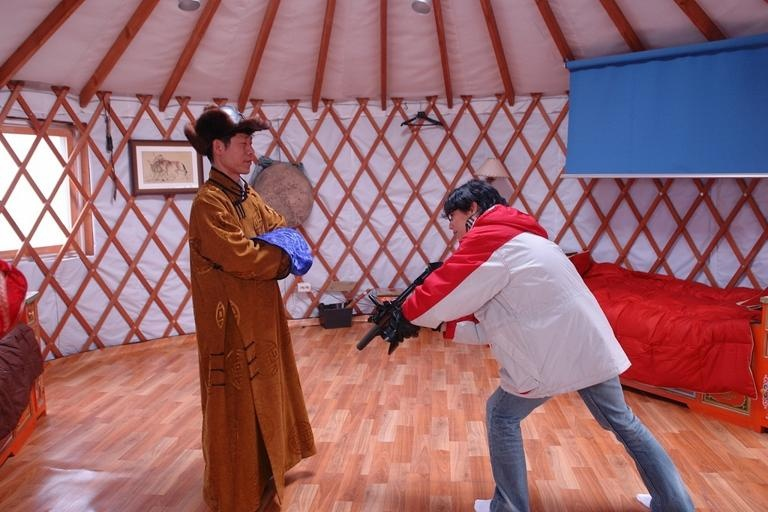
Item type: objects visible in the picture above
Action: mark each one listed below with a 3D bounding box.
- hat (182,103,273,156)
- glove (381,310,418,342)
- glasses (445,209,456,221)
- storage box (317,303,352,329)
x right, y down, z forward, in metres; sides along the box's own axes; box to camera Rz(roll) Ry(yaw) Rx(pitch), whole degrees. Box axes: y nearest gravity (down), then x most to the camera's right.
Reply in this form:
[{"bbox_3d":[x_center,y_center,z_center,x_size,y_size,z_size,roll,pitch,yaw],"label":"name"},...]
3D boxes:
[{"bbox_3d":[-0.760,-0.600,2.575,0.267,0.123,0.258,-24,3,-1],"label":"hat"},{"bbox_3d":[0.064,0.311,2.423,0.143,0.145,0.068,-38,6,14],"label":"glove"},{"bbox_3d":[0.309,-0.185,2.486,0.034,0.040,0.043,16,-7,-20],"label":"glasses"},{"bbox_3d":[-0.440,0.536,4.906,0.228,0.150,0.237,0,2,-12],"label":"storage box"}]
